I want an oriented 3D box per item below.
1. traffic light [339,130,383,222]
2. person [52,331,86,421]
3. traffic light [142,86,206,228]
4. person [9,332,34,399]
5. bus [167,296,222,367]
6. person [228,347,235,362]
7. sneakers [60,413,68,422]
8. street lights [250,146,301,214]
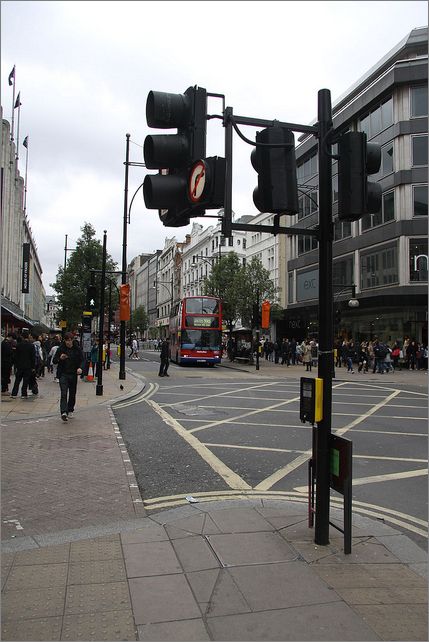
[{"bbox_3d":[0.998,-0.956,3.743,0.224,0.563,0.210,4,-8,-12],"label":"traffic light"},{"bbox_3d":[-2.602,0.982,9.991,0.469,1.501,0.775,0,-1,-15],"label":"person"},{"bbox_3d":[-0.261,-1.078,3.635,0.396,0.850,0.703,0,-1,-17],"label":"traffic light"},{"bbox_3d":[-4.619,1.174,13.417,0.540,1.422,0.746,0,-1,-21],"label":"person"},{"bbox_3d":[-1.105,0.595,30.924,2.036,3.745,4.530,0,-1,-14],"label":"bus"},{"bbox_3d":[1.206,2.373,39.603,0.292,0.963,0.999,0,-1,-7],"label":"person"},{"bbox_3d":[-2.599,1.703,9.689,0.065,0.106,0.238,1,-39,-11],"label":"sneakers"},{"bbox_3d":[0.385,-0.947,3.707,0.273,0.527,0.216,-6,-10,24],"label":"street lights"}]
